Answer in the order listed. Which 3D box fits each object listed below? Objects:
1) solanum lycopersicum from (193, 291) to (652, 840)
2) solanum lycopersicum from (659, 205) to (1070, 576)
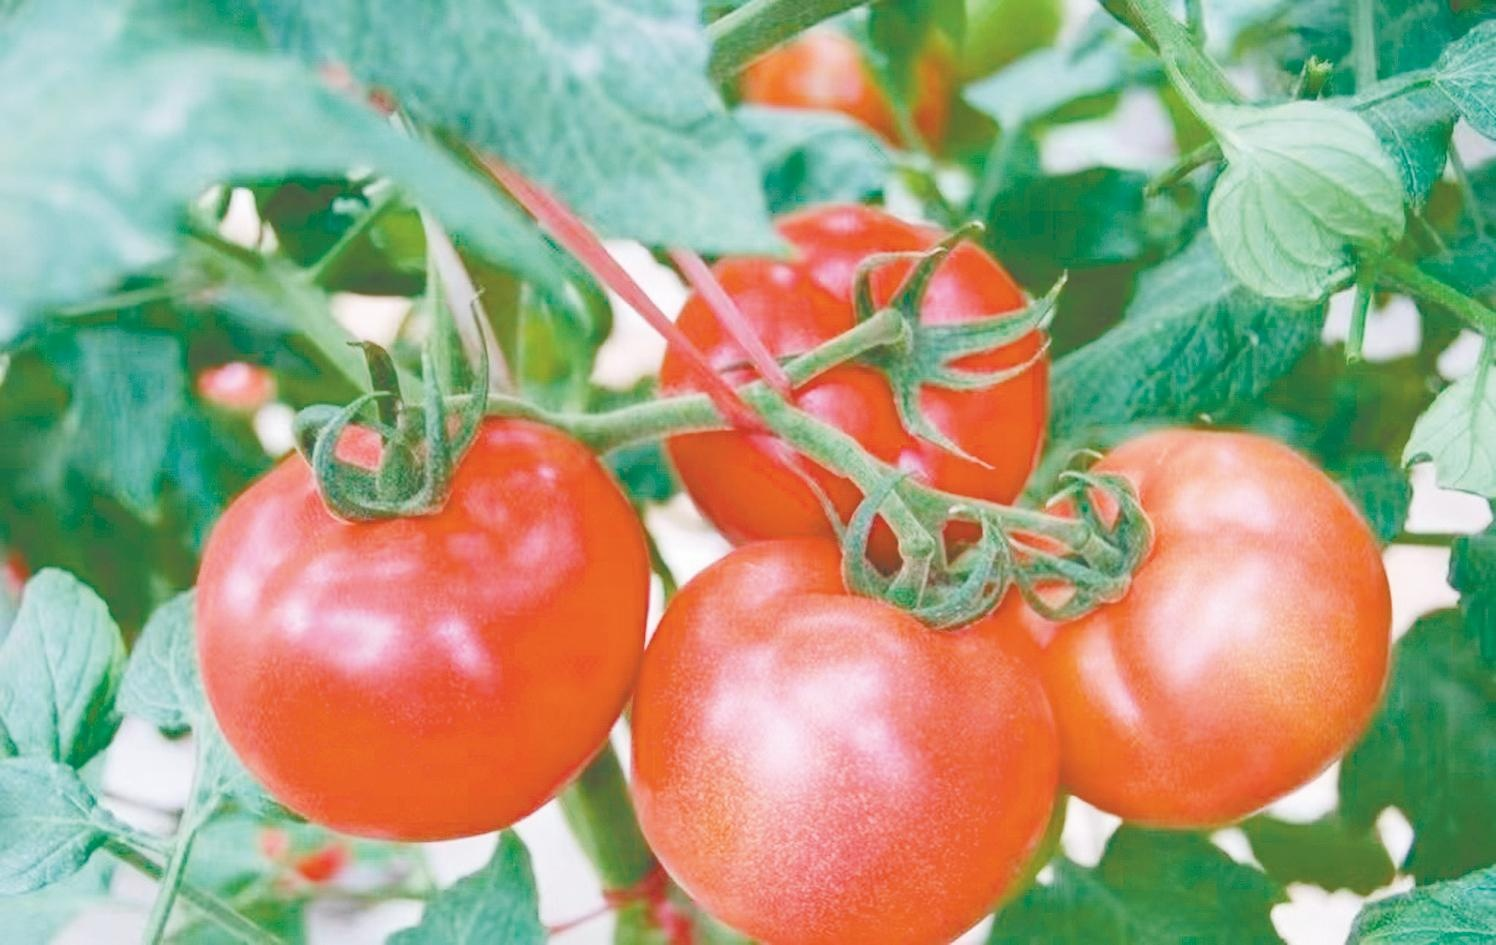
[{"bbox_3d":[-0.107,0.047,0.513,0.145,0.083,0.122,-14,65,7],"label":"solanum lycopersicum"},{"bbox_3d":[0.040,-0.029,0.612,0.123,0.125,0.130,1,91,-25],"label":"solanum lycopersicum"}]
